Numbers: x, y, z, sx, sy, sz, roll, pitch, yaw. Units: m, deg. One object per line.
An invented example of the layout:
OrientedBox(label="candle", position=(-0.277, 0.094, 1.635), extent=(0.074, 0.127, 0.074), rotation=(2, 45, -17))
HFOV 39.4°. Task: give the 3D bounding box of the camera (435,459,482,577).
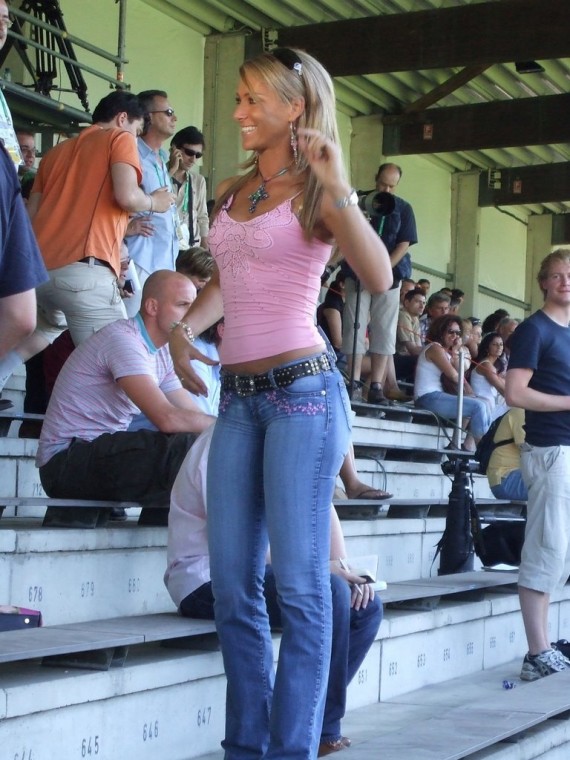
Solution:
OrientedBox(label="camera", position=(0.979, 0.808, 4.503), extent=(0.226, 0.668, 0.389), rotation=(3, 4, 11))

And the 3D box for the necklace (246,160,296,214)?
OrientedBox(label="necklace", position=(-0.029, -0.385, 1.580), extent=(0.052, 0.132, 0.015), rotation=(35, -27, 8))

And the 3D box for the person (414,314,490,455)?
OrientedBox(label="person", position=(1.518, 0.015, 7.257), extent=(0.690, 1.218, 0.928), rotation=(2, 4, 0))

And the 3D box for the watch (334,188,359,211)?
OrientedBox(label="watch", position=(0.114, -0.327, 1.439), extent=(0.015, 0.034, 0.045), rotation=(10, -1, 45))

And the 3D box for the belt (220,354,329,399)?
OrientedBox(label="belt", position=(-0.012, -0.008, 1.577), extent=(0.225, 0.091, 0.136), rotation=(1, 3, -4))

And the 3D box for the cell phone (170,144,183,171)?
OrientedBox(label="cell phone", position=(-0.771, -1.552, 5.556), extent=(0.073, 0.153, 0.128), rotation=(2, 11, -6))

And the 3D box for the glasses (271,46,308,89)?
OrientedBox(label="glasses", position=(0.010, -0.612, 1.564), extent=(0.078, 0.030, 0.058), rotation=(43, 14, 2))
